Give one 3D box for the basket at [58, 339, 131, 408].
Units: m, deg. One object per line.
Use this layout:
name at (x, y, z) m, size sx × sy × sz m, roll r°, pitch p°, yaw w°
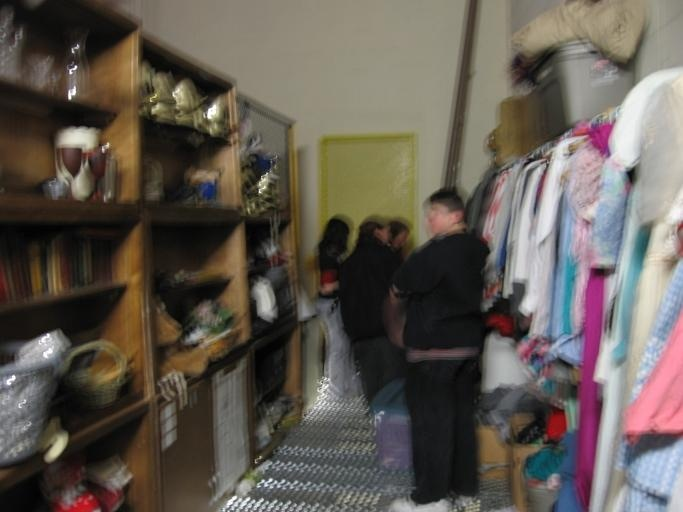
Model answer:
basket at (-0.567, 0.271, 1.206) m, size 0.127 × 0.105 × 0.124 m, roll 5°, pitch 3°, yaw -9°
